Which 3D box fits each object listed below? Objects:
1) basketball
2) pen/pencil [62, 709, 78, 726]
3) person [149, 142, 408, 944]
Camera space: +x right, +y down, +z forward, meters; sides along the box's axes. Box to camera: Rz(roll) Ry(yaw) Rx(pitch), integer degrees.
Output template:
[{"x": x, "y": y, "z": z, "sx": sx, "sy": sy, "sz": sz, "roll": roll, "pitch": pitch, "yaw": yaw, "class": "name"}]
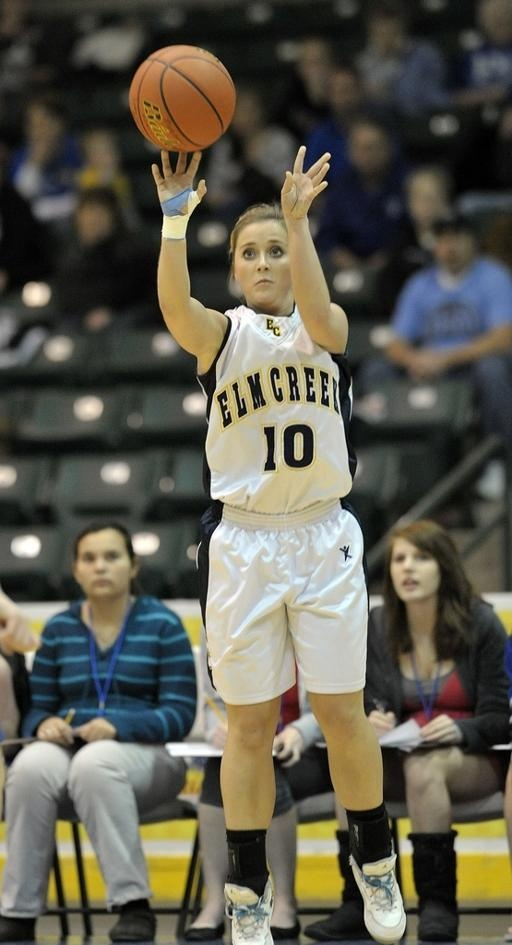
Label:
[{"x": -0.156, "y": -0.799, "z": 2.123, "sx": 0.198, "sy": 0.227, "sz": 0.197, "roll": -5, "pitch": 8, "yaw": 1, "class": "basketball"}, {"x": -0.549, "y": 0.719, "z": 2.882, "sx": 0.020, "sy": 0.023, "sz": 0.078, "roll": -37, "pitch": -14, "yaw": -19, "class": "pen/pencil"}, {"x": 0.050, "y": 0.159, "z": 2.141, "sx": 0.418, "sy": 1.744, "sz": 0.547, "roll": -7, "pitch": 8, "yaw": 6, "class": "person"}]
